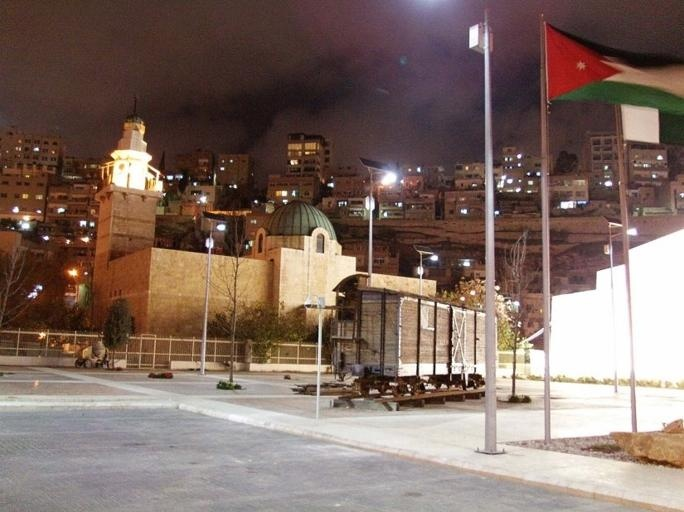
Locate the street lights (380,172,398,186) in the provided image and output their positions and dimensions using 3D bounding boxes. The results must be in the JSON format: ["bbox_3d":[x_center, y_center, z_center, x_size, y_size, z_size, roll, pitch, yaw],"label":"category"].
[{"bbox_3d":[2.579,-4.195,34.272,0.883,0.428,1.239,0,0,-8],"label":"street lights"}]

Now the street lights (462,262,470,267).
[{"bbox_3d":[20.145,1.325,100.686,0.895,0.998,1.740,-5,-11,14],"label":"street lights"}]
